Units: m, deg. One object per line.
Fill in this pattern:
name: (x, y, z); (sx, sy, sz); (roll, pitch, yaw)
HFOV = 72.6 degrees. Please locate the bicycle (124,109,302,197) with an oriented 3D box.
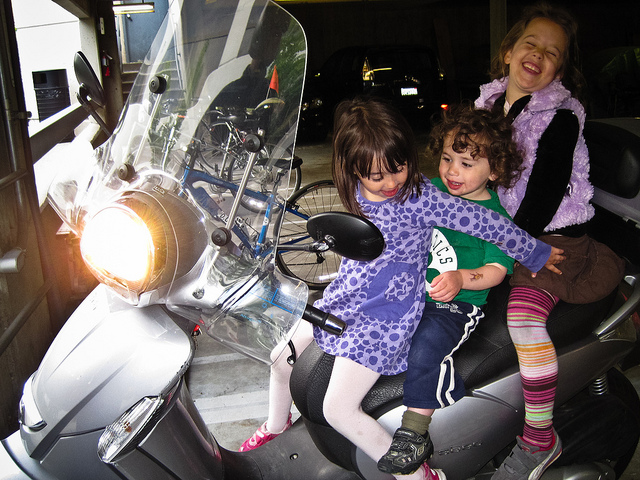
bicycle: (-0.276, -0.216, 1.207); (0.396, 0.267, 0.204); (16, -7, -9)

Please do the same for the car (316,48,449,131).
car: (1.450, -2.727, 9.534); (1.660, 1.717, 3.310); (-6, 1, -6)
